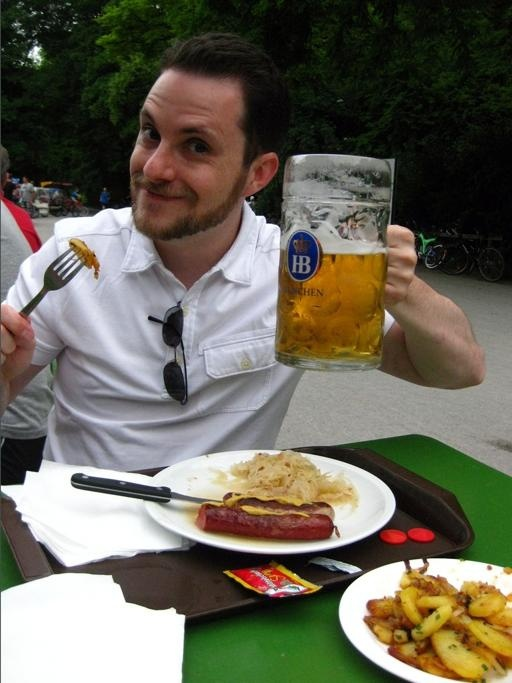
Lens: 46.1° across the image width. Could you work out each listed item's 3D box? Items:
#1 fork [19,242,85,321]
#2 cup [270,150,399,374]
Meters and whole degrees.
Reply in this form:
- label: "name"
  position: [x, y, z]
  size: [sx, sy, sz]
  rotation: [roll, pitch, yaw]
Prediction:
- label: "fork"
  position: [-0.557, -0.152, 1.658]
  size: [0.062, 0.357, 0.054]
  rotation: [49, 17, 10]
- label: "cup"
  position: [0.124, -0.136, 1.080]
  size: [0.203, 0.360, 0.184]
  rotation: [1, 7, -2]
